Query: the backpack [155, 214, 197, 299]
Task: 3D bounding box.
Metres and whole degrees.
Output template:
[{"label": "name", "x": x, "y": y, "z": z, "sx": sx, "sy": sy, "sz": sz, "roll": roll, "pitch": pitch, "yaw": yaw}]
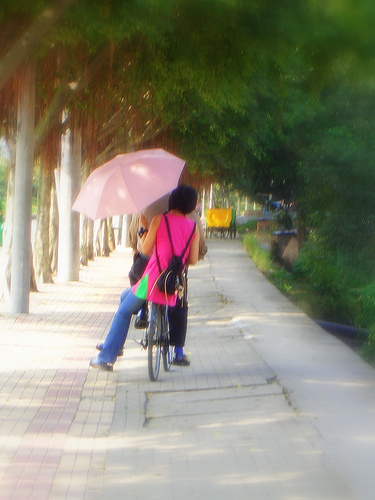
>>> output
[{"label": "backpack", "x": -0.099, "y": 0.144, "z": 5.032, "sx": 0.291, "sy": 0.955, "sz": 0.413, "roll": 8, "pitch": -34, "yaw": 3}]
